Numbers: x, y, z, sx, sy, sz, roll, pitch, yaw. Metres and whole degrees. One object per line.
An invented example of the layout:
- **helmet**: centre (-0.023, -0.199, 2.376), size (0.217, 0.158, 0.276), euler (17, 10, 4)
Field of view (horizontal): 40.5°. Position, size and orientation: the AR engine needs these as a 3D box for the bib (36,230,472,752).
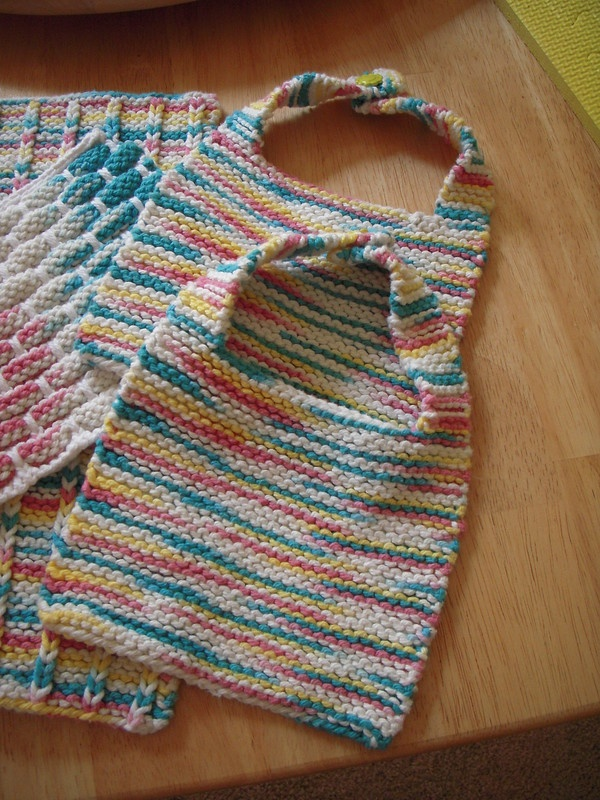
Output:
- **bib**: centre (-0.034, 0.051, 0.938), size (0.493, 0.103, 0.558), euler (6, 85, 35)
